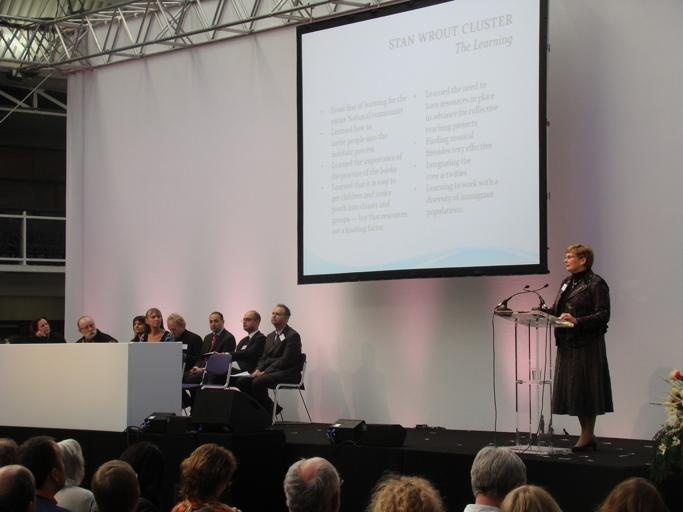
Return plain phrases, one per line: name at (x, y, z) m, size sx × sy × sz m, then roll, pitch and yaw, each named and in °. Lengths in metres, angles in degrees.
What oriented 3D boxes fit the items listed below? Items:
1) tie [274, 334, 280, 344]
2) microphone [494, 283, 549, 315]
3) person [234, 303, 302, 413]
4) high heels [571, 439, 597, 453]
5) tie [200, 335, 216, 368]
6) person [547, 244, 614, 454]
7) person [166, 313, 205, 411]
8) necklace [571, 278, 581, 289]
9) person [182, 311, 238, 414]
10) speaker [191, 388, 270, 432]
tie at (-0.752, 0.965, 8.448) m, size 0.021 × 0.066 × 0.094 m, roll 5°, pitch -7°, yaw -36°
microphone at (1.482, 0.349, 5.921) m, size 0.405 × 0.264 × 0.172 m, roll 1°, pitch 3°, yaw 21°
person at (-0.798, 1.153, 8.299) m, size 0.525 × 1.185 × 0.566 m, roll -4°, pitch -9°, yaw 38°
high heels at (2.004, 1.578, 6.012) m, size 0.271 × 0.127 × 0.090 m, roll 9°, pitch -12°, yaw -33°
tie at (-1.680, 1.202, 9.115) m, size 0.089 × 0.373 × 0.195 m, roll 21°, pitch -12°, yaw -36°
person at (1.956, 0.742, 5.936) m, size 0.474 × 1.682 × 0.461 m, roll -1°, pitch -8°, yaw 17°
person at (-2.043, 1.407, 9.323) m, size 0.590 × 1.324 × 0.526 m, roll -3°, pitch 2°, yaw -42°
necklace at (1.968, 0.228, 6.093) m, size 0.013 × 0.063 × 0.056 m, roll 7°, pitch 7°, yaw -21°
person at (-1.735, 1.363, 8.965) m, size 0.525 × 1.366 × 0.729 m, roll -2°, pitch -6°, yaw 40°
speaker at (-1.044, 1.313, 6.249) m, size 0.514 × 0.305 × 0.556 m, roll 0°, pitch -17°, yaw 19°
